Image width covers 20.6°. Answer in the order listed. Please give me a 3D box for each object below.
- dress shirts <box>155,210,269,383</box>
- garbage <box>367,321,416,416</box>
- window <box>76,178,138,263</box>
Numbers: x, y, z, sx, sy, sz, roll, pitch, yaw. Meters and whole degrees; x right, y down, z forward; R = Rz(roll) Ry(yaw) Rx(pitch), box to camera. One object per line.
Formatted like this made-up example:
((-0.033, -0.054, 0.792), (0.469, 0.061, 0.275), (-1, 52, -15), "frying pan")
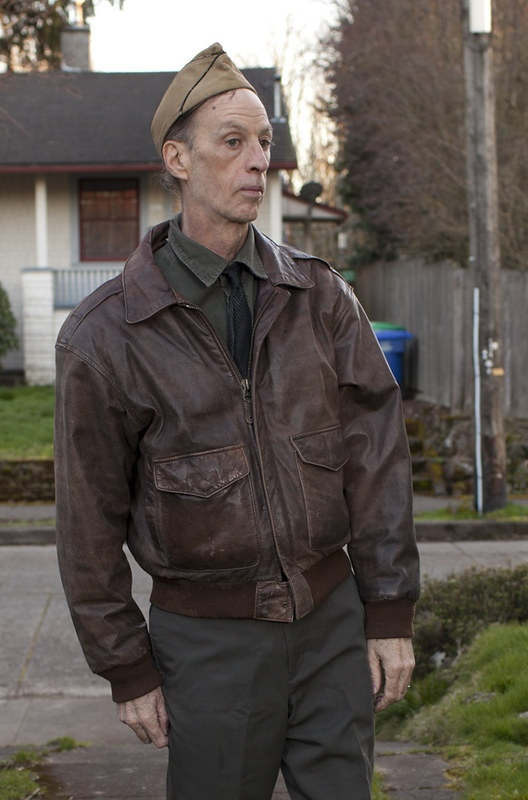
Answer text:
((-0.124, -0.274, 3.743), (0.248, 0.408, 0.096), (-2, -29, -25), "dress shirts")
((1.074, -0.307, 12.375), (0.507, 0.611, 0.499), (-7, 5, -38), "garbage")
((-0.582, -0.667, 5.374), (0.213, 0.020, 0.384), (-2, -44, -6), "window")
